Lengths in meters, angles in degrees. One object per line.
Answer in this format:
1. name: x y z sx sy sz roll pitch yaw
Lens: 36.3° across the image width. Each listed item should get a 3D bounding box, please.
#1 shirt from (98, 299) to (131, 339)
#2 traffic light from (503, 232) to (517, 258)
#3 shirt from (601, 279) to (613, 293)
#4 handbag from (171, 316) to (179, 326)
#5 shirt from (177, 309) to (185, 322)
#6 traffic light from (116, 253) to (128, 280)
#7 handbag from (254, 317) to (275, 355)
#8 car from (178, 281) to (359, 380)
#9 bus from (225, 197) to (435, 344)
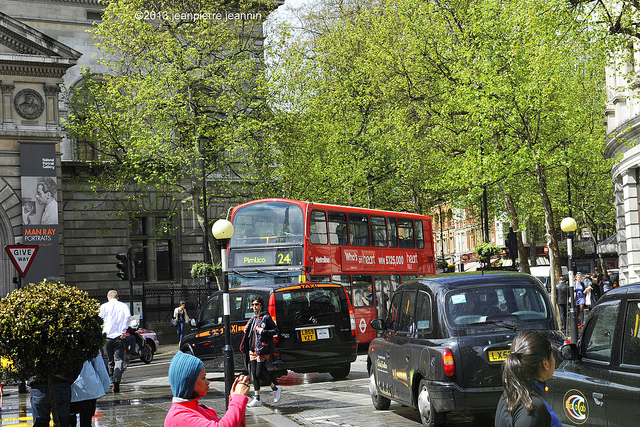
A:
1. shirt: -6.204 3.191 29.470 0.837 1.176 0.481 0 -7 -13
2. traffic light: 8.004 1.284 40.556 0.408 1.072 1.248 -3 -8 11
3. shirt: 12.072 3.043 40.908 0.473 0.474 1.407 -23 -10 10
4. handbag: -5.849 4.255 38.813 0.411 0.198 0.556 -17 -10 -19
5. shirt: -6.092 4.484 42.644 0.268 0.536 0.696 -1 -8 -6
6. traffic light: -8.281 2.210 40.772 0.418 1.059 1.571 -1 -8 -10
7. handbag: -1.540 3.587 27.553 0.526 0.915 0.726 6 -12 -34
8. car: -1.881 3.683 31.574 3.000 2.127 5.337 4 -4 -43
9. bus: 0.171 1.794 39.024 3.887 4.830 10.554 -5 -7 34
